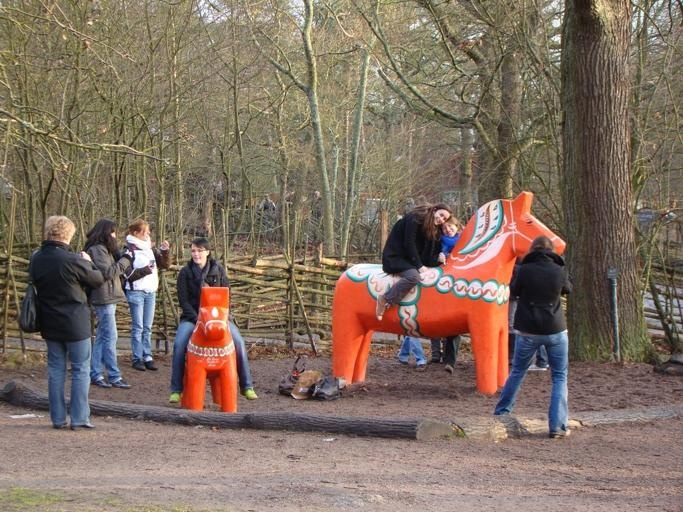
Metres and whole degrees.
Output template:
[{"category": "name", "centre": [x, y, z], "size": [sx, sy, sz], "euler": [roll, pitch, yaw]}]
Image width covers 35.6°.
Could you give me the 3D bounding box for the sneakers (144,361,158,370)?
[{"category": "sneakers", "centre": [-3.132, 1.801, 17.439], "size": [0.093, 0.135, 0.281], "euler": [0, -5, -35]}]

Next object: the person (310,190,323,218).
[{"category": "person", "centre": [-0.817, -1.723, 35.341], "size": [0.339, 1.003, 1.228], "euler": [0, -2, -2]}]

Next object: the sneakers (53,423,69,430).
[{"category": "sneakers", "centre": [-3.689, 2.240, 13.986], "size": [0.190, 0.111, 0.077], "euler": [5, -3, -11]}]

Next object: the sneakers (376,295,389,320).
[{"category": "sneakers", "centre": [0.607, 0.746, 15.670], "size": [0.140, 0.393, 0.113], "euler": [8, 10, 37]}]

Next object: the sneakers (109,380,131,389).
[{"category": "sneakers", "centre": [-3.330, 1.937, 16.057], "size": [0.288, 0.153, 0.118], "euler": [1, 6, -3]}]

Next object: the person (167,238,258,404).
[{"category": "person", "centre": [-1.876, 0.918, 15.015], "size": [1.080, 2.353, 0.703], "euler": [1, -2, -11]}]

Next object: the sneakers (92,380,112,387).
[{"category": "sneakers", "centre": [-3.595, 1.906, 15.975], "size": [0.279, 0.147, 0.114], "euler": [5, -5, -3]}]

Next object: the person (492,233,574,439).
[{"category": "person", "centre": [2.650, 0.969, 14.571], "size": [0.956, 2.747, 0.867], "euler": [4, 20, 17]}]

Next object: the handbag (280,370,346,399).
[{"category": "handbag", "centre": [-0.411, 1.954, 15.880], "size": [0.512, 0.227, 0.535], "euler": [2, 2, 40]}]

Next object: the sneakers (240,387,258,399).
[{"category": "sneakers", "centre": [-1.337, 1.989, 15.363], "size": [0.113, 0.156, 0.315], "euler": [-1, -5, -31]}]

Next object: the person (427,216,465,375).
[{"category": "person", "centre": [1.567, 0.533, 15.901], "size": [0.411, 2.377, 1.240], "euler": [5, -15, -3]}]

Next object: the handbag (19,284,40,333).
[{"category": "handbag", "centre": [-4.070, 0.674, 13.852], "size": [0.247, 0.643, 0.195], "euler": [1, -2, -18]}]

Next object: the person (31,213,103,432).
[{"category": "person", "centre": [-3.640, 0.861, 13.967], "size": [0.899, 2.794, 0.506], "euler": [1, -2, -26]}]

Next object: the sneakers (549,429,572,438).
[{"category": "sneakers", "centre": [2.958, 2.380, 14.282], "size": [0.292, 0.146, 0.106], "euler": [-6, 6, -43]}]
